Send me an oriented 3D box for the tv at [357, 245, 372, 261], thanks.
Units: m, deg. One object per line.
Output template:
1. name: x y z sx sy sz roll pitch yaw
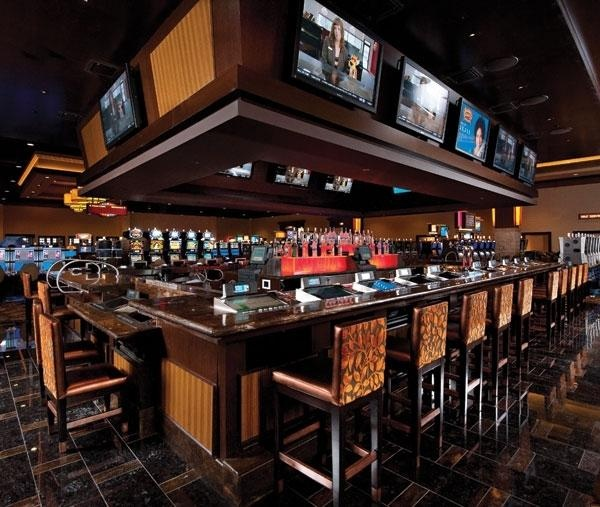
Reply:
1. tv: 1.146 0.005 7.244 0.309 0.318 0.214 1 -2 -43

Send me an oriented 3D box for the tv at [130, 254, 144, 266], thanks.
1. tv: -4.236 0.176 10.540 0.331 0.266 0.355 -2 -4 38

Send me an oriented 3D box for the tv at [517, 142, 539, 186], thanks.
1. tv: 4.816 -1.918 8.633 0.118 0.699 0.887 -4 -4 41

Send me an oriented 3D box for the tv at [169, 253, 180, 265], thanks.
1. tv: -3.711 0.166 11.971 0.235 0.388 0.251 -1 4 2

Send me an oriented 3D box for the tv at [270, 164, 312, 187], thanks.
1. tv: -0.153 -1.784 9.408 0.392 0.397 1.340 -2 -1 31

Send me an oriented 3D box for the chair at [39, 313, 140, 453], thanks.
1. chair: -1.958 0.936 4.002 0.939 1.775 1.029 -2 3 -33

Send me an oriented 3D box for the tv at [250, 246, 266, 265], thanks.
1. tv: -0.665 0.037 6.518 0.256 0.288 0.137 -4 -13 36

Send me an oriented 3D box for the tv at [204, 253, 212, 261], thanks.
1. tv: -3.032 0.105 13.365 0.262 0.149 0.250 17 11 36

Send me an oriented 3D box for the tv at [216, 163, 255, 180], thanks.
1. tv: -1.271 -1.748 8.482 0.735 0.295 0.302 -1 -1 -43

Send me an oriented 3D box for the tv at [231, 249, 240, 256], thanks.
1. tv: -2.372 -0.036 14.828 0.112 0.236 0.222 -9 -9 43

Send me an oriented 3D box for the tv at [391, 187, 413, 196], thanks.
1. tv: 3.050 -1.835 12.112 0.562 0.157 0.281 -2 -1 16

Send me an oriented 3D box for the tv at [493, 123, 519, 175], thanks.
1. tv: 3.786 -1.950 7.512 0.136 0.652 0.855 5 5 42

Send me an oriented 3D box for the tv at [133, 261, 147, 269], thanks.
1. tv: -3.659 0.256 9.350 0.319 0.146 0.710 -1 -1 -22

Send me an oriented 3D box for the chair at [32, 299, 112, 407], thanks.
1. chair: -1.895 0.920 3.485 0.611 0.977 0.746 -1 -1 -36
